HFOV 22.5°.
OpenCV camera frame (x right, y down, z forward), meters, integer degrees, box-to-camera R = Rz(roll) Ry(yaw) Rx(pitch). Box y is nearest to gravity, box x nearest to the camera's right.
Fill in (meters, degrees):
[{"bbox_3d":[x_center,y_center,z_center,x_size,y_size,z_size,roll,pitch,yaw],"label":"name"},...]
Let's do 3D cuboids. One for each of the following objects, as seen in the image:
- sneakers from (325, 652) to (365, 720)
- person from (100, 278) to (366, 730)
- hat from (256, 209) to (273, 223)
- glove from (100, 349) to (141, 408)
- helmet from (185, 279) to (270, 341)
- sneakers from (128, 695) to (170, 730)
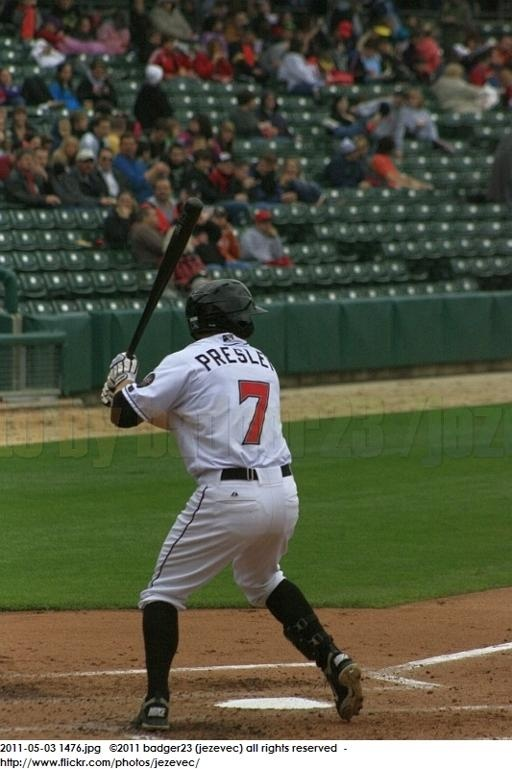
[{"bbox_3d":[0.292,0.948,4.047,0.095,0.224,0.115,-34,37,-28],"label":"sneakers"},{"bbox_3d":[-0.074,0.358,4.101,0.768,1.392,0.483,0,4,-8],"label":"person"},{"bbox_3d":[0.061,-1.699,12.975,0.142,0.125,0.155,1,3,-3],"label":"hat"},{"bbox_3d":[-0.452,-0.022,4.232,0.077,0.179,0.117,32,-15,-26],"label":"glove"},{"bbox_3d":[-0.107,-0.249,4.289,0.282,0.201,0.197,0,11,-22],"label":"helmet"},{"bbox_3d":[-0.326,1.003,3.962,0.101,0.119,0.183,0,3,-11],"label":"sneakers"}]
